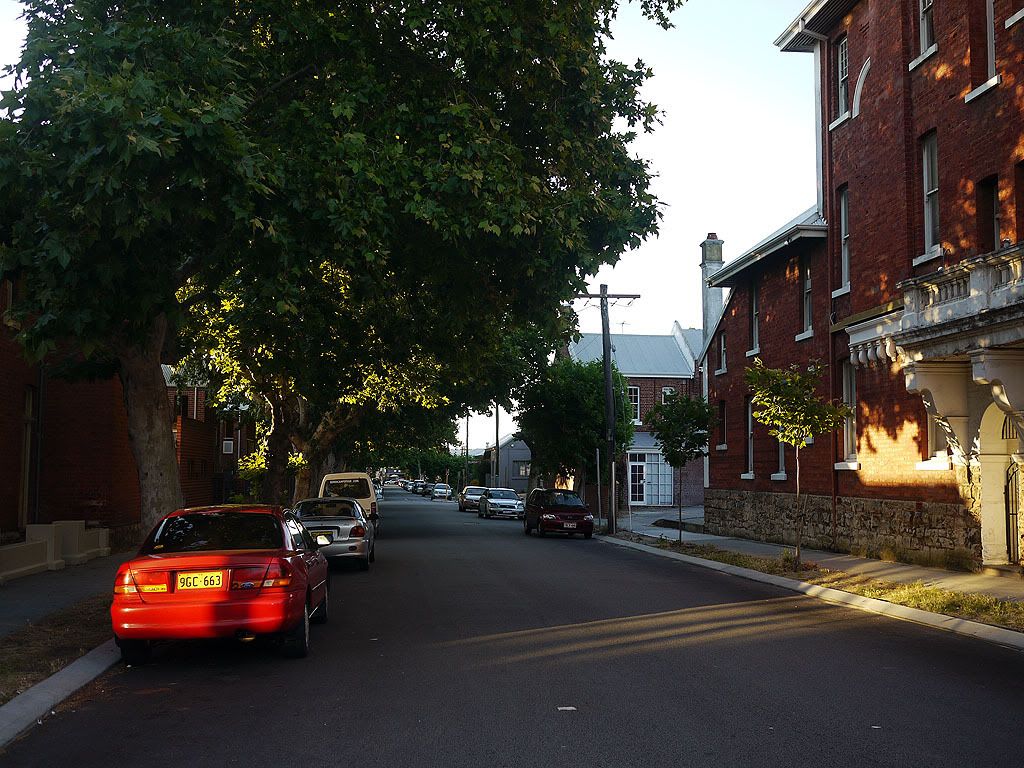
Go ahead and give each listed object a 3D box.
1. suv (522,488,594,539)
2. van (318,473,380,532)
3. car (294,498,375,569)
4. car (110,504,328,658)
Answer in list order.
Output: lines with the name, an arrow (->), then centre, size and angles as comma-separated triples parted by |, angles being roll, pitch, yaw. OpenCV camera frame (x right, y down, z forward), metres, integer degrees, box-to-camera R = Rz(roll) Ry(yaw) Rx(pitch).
suv -> 1.495, 4.653, 33.785 | 1.147, 1.255, 2.840 | 2, -17, -9
van -> -5.280, 3.966, 30.755 | 1.573, 1.817, 2.936 | 0, -4, -3
car -> -3.669, 3.314, 20.429 | 1.117, 1.125, 3.012 | 1, -3, 0
car -> -3.386, 2.354, 12.049 | 1.240, 1.104, 2.949 | -1, -4, 0
